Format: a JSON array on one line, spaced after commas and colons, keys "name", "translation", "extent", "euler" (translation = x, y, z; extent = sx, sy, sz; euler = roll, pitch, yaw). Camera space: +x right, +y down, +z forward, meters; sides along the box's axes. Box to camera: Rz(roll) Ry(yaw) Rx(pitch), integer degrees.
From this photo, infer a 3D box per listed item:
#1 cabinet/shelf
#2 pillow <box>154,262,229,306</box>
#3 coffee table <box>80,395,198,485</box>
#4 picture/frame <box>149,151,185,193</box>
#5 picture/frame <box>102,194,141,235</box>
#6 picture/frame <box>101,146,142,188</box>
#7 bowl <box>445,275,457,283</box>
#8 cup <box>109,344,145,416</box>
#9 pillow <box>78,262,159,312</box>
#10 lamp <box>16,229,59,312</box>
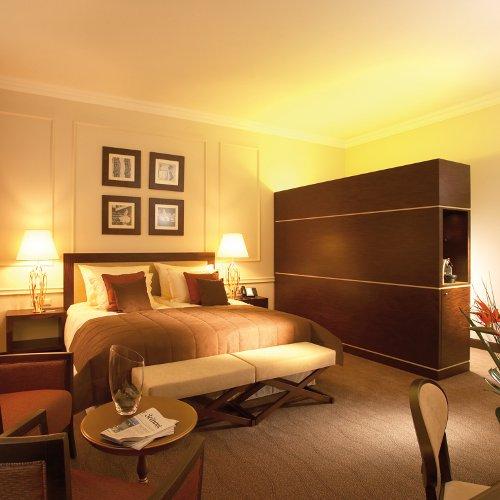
[{"name": "cabinet/shelf", "translation": [1.368, 0.251, 4.359], "extent": [0.681, 2.148, 2.360], "euler": [-1, 1, -36]}, {"name": "pillow", "translation": [-0.855, 0.354, 4.736], "extent": [0.509, 0.536, 0.149], "euler": [6, -26, -46]}, {"name": "coffee table", "translation": [-0.483, 0.746, 1.786], "extent": [0.412, 0.459, 0.421], "euler": [0, 5, -6]}, {"name": "picture/frame", "translation": [-1.046, -0.980, 5.127], "extent": [0.015, 0.395, 0.369], "euler": [-6, 2, 39]}, {"name": "picture/frame", "translation": [-1.550, -0.428, 4.807], "extent": [0.448, 0.489, 0.034], "euler": [1, -2, -36]}, {"name": "picture/frame", "translation": [-1.550, -0.992, 4.805], "extent": [0.482, 0.592, 0.038], "euler": [1, -3, -32]}, {"name": "bowl", "translation": [1.996, 0.278, 4.039], "extent": [0.073, 0.055, 0.086], "euler": [1, -2, -3]}, {"name": "cup", "translation": [-0.560, 0.577, 1.828], "extent": [0.142, 0.337, 0.195], "euler": [0, 1, -20]}, {"name": "pillow", "translation": [-1.573, 0.364, 4.323], "extent": [0.172, 0.575, 0.581], "euler": [-17, -10, 37]}, {"name": "lamp", "translation": [-2.196, 0.198, 4.210], "extent": [0.390, 0.851, 0.413], "euler": [-1, 2, -31]}]
